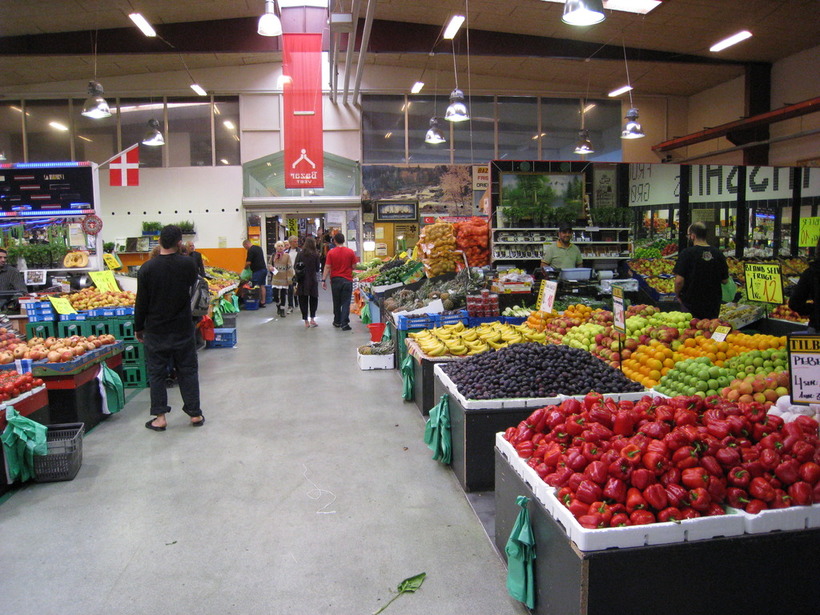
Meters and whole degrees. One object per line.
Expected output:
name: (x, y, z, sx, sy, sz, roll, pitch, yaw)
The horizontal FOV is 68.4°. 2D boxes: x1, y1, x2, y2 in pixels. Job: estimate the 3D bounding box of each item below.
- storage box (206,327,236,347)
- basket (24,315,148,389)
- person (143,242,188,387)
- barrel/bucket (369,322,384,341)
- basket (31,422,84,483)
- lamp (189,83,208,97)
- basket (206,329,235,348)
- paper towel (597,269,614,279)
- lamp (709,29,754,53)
storage box: (-2.795, 0.453, 9.067, 0.299, 0.195, 0.310, -1, 1, 0)
basket: (-3.460, 0.327, 6.724, 0.798, 0.729, 1.137, 0, -3, -5)
person: (-2.135, -0.043, 5.284, 0.539, 1.287, 0.254, -6, 11, -26)
barrel/bucket: (-0.447, 0.345, 8.248, 0.187, 0.268, 0.357, -1, 11, -4)
basket: (-2.626, 1.070, 4.528, 0.327, 0.336, 0.391, -4, 11, -19)
lamp: (-5.389, -5.483, 15.252, 0.284, 0.115, 0.468, -2, -6, 8)
basket: (-2.789, 0.467, 8.986, 0.285, 0.188, 0.296, -1, 2, 2)
paper towel: (3.096, -0.521, 9.540, 0.243, 0.120, 0.518, 3, 11, 20)
lamp: (6.350, -5.226, 11.894, 0.593, 0.146, 1.586, 1, 11, 9)
